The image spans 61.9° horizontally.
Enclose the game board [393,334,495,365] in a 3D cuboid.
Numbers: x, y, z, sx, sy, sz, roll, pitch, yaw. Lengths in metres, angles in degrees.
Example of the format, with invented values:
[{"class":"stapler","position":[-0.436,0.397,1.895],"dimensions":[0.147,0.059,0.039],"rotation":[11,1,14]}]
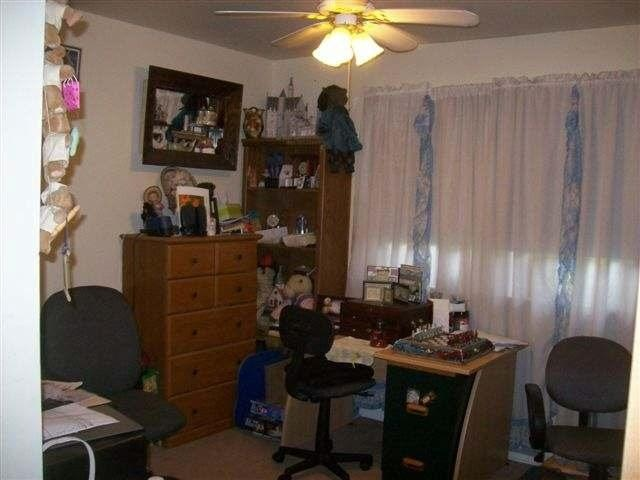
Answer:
[{"class":"game board","position":[0.785,0.645,3.381],"dimensions":[0.506,0.135,0.470],"rotation":[5,6,32]}]
